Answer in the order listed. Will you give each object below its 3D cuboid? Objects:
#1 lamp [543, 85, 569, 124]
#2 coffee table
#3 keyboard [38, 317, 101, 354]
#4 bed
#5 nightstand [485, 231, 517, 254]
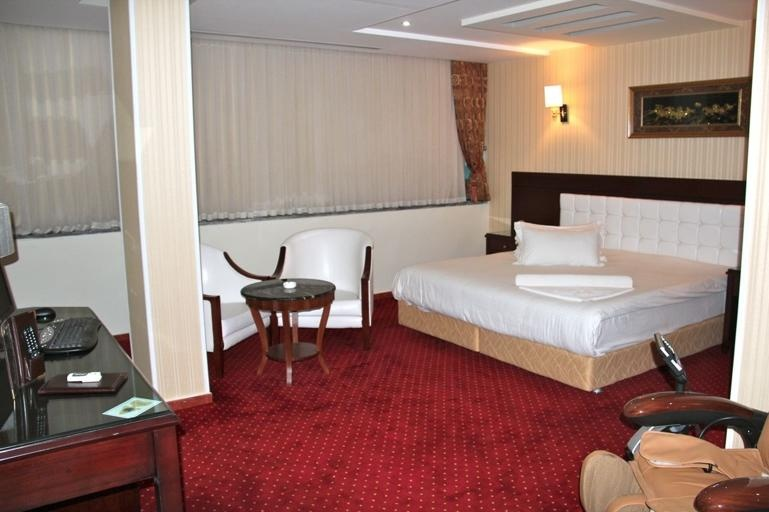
[{"bbox_3d":[2.288,-2.004,6.803,0.281,0.487,0.237,9,18,40],"label":"lamp"},{"bbox_3d":[-0.877,0.734,4.916,0.956,0.842,0.950,8,13,39],"label":"coffee table"},{"bbox_3d":[-1.777,0.445,2.874,0.321,0.059,0.325,-1,24,-8],"label":"keyboard"},{"bbox_3d":[2.112,0.287,5.558,2.812,1.682,2.769,-8,12,-43],"label":"bed"},{"bbox_3d":[1.656,-0.177,7.395,0.274,0.427,0.459,-3,9,-25],"label":"nightstand"}]
